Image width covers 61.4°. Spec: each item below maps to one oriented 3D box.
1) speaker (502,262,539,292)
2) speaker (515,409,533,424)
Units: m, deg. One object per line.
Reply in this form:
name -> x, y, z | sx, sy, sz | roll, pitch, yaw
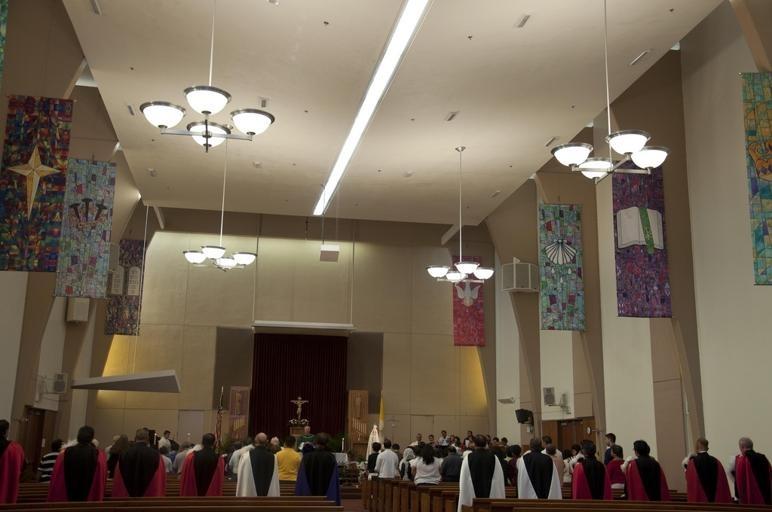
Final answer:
speaker -> 3.984, 0.596, 19.161 | 0.868, 0.649, 0.892 | 1, -8, 4
speaker -> 4.228, 4.924, 20.089 | 0.538, 0.418, 0.412 | 1, -5, -4
